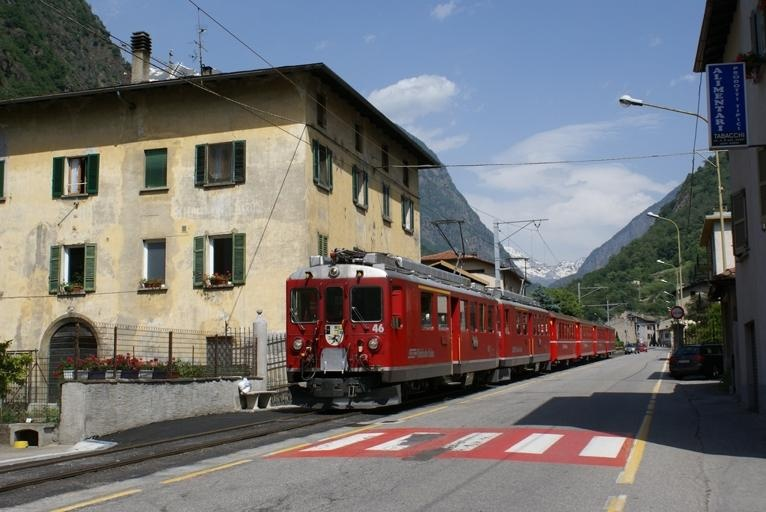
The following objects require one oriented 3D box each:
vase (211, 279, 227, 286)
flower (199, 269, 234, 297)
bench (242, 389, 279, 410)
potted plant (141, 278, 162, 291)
[{"bbox_3d":[-6.517,1.027,31.605,0.372,0.131,0.343,10,-13,-43],"label":"vase"},{"bbox_3d":[-6.627,1.003,31.750,1.544,0.836,0.428,-8,-11,9],"label":"flower"},{"bbox_3d":[-4.017,4.552,25.422,1.142,0.563,0.416,6,-16,-44],"label":"bench"},{"bbox_3d":[-9.395,1.147,32.365,0.593,0.263,0.630,0,-7,9],"label":"potted plant"}]
